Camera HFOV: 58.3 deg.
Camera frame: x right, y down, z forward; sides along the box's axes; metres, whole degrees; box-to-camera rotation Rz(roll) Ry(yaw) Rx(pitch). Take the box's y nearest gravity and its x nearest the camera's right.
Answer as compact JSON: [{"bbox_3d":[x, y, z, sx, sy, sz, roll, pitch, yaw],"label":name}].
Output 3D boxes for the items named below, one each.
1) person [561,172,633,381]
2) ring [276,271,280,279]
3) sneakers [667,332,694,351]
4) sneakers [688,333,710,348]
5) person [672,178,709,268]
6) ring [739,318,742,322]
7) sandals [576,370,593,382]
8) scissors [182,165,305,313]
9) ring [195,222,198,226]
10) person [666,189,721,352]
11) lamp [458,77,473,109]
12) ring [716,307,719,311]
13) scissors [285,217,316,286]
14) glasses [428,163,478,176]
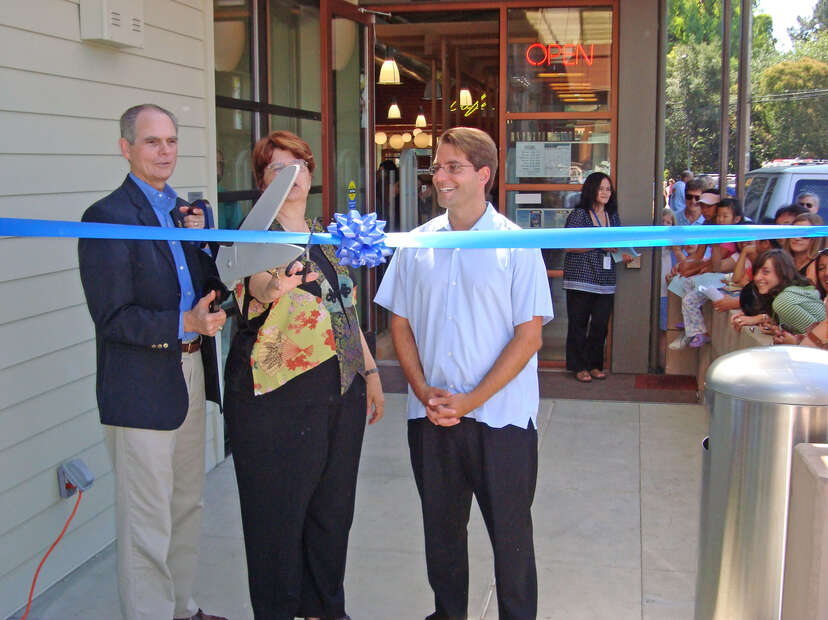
[{"bbox_3d":[1.652,-0.299,6.836,0.529,1.900,0.464,0,10,1],"label":"person"},{"bbox_3d":[-0.453,-0.114,2.461,0.016,0.025,0.006,0,7,-3],"label":"ring"},{"bbox_3d":[2.427,0.301,6.795,0.234,0.109,0.092,-23,42,-9],"label":"sneakers"},{"bbox_3d":[2.506,0.268,6.542,0.163,0.126,0.086,-9,9,19],"label":"sneakers"},{"bbox_3d":[2.978,-1.017,7.883,0.308,0.867,0.268,4,-21,27],"label":"person"},{"bbox_3d":[2.229,0.074,5.088,0.020,0.022,0.008,23,3,23],"label":"ring"},{"bbox_3d":[1.568,0.615,6.875,0.082,0.072,0.222,-1,2,6],"label":"sandals"},{"bbox_3d":[-0.486,-0.253,2.376,0.166,0.419,0.466,-10,15,-43],"label":"scissors"},{"bbox_3d":[-0.897,-0.356,3.057,0.013,0.014,0.004,7,-1,-24],"label":"ring"},{"bbox_3d":[2.618,-0.396,6.765,0.662,1.368,0.409,-8,5,-4],"label":"person"},{"bbox_3d":[0.862,-3.631,12.621,0.115,0.410,0.592,2,11,11],"label":"lamp"},{"bbox_3d":[2.378,-0.001,5.848,0.011,0.026,0.033,-27,-39,37],"label":"ring"},{"bbox_3d":[-0.379,-0.228,2.638,0.085,0.283,0.030,6,-13,7],"label":"scissors"},{"bbox_3d":[0.121,-0.537,2.823,0.123,0.046,0.233,-9,14,-36],"label":"glasses"}]
